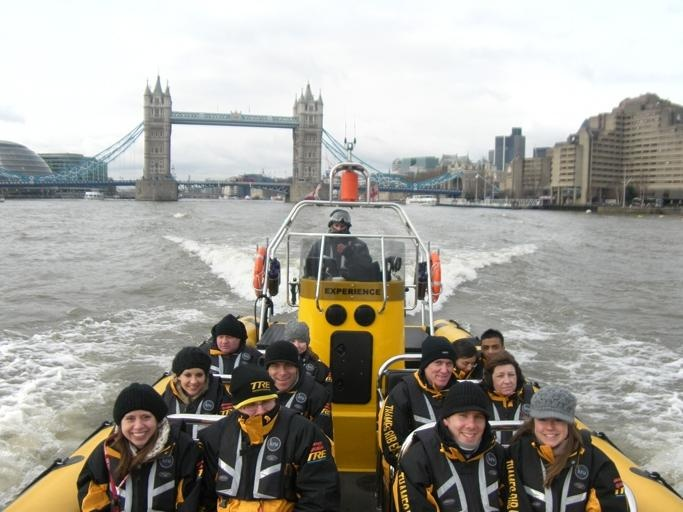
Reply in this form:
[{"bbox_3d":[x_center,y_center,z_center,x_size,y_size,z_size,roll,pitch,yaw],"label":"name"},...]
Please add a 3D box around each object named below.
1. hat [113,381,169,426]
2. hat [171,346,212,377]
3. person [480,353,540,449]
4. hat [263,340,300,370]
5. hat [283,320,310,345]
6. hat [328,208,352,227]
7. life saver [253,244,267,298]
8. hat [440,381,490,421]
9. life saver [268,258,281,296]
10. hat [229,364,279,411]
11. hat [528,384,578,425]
[{"bbox_3d":[-1.247,0.898,3.918,0.272,0.278,0.165,-2,0,-4],"label":"hat"},{"bbox_3d":[-1.091,0.758,4.617,0.210,0.177,0.257,-4,-4,-17],"label":"hat"},{"bbox_3d":[1.242,1.013,5.020,0.640,0.284,0.819,6,18,8],"label":"person"},{"bbox_3d":[-0.421,0.698,4.583,0.180,0.161,0.230,5,-10,-18],"label":"hat"},{"bbox_3d":[-0.369,0.625,5.341,0.163,0.142,0.203,3,-2,-10],"label":"hat"},{"bbox_3d":[-0.013,-0.406,6.490,0.188,0.156,0.195,4,-30,-5],"label":"hat"},{"bbox_3d":[-0.880,0.165,6.873,0.129,0.554,0.516,1,8,-8],"label":"life saver"},{"bbox_3d":[0.755,0.911,4.011,0.269,0.161,0.263,4,-11,-4],"label":"hat"},{"bbox_3d":[-0.727,0.217,6.835,0.097,0.412,0.294,4,8,11],"label":"life saver"},{"bbox_3d":[-0.599,0.848,4.137,0.272,0.239,0.304,-10,-8,-31],"label":"hat"},{"bbox_3d":[1.379,0.930,4.098,0.292,0.167,0.365,7,0,16],"label":"hat"}]
